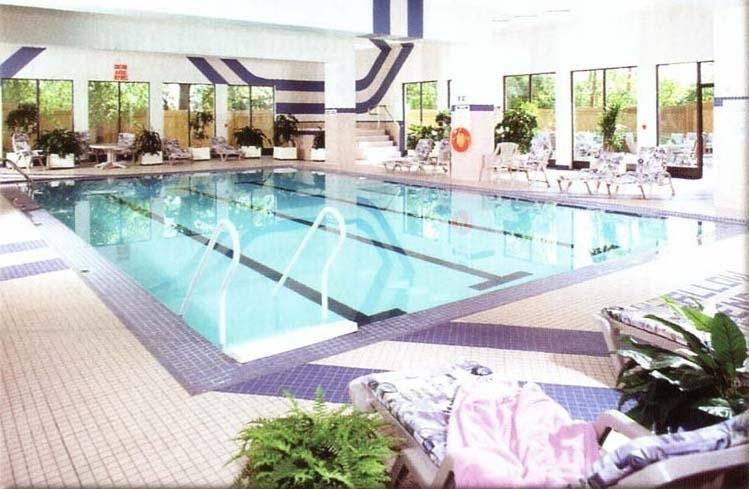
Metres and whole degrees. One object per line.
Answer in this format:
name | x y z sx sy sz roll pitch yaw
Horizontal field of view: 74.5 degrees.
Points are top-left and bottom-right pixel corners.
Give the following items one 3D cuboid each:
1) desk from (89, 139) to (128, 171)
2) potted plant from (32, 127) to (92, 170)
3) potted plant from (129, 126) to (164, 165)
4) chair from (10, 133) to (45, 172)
desk | -10.065 -3.378 18.843 1.487 0.817 1.532 0 6 -1
potted plant | -12.031 -3.586 18.855 1.054 1.132 1.224 8 11 41
potted plant | -9.027 -3.923 19.737 1.419 1.899 1.303 -6 12 -38
chair | -12.355 -3.301 17.550 1.006 1.308 0.841 15 16 22
